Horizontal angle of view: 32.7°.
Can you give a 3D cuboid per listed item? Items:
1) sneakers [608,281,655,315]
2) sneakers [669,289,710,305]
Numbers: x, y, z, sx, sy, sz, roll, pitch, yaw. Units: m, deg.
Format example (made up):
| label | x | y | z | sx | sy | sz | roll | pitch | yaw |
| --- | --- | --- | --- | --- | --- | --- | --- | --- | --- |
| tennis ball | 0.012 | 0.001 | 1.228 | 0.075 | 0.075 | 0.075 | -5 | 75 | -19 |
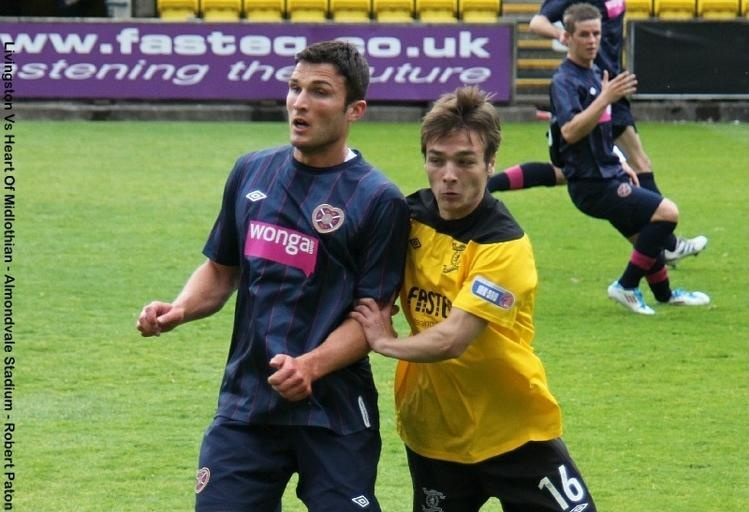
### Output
| label | x | y | z | sx | sy | sz | roll | pitch | yaw |
| --- | --- | --- | --- | --- | --- | --- | --- | --- | --- |
| sneakers | 2.312 | 0.369 | 11.657 | 0.523 | 0.206 | 0.199 | 26 | 1 | 1 |
| sneakers | 2.903 | 0.376 | 11.648 | 0.327 | 0.114 | 0.158 | -2 | 7 | 4 |
